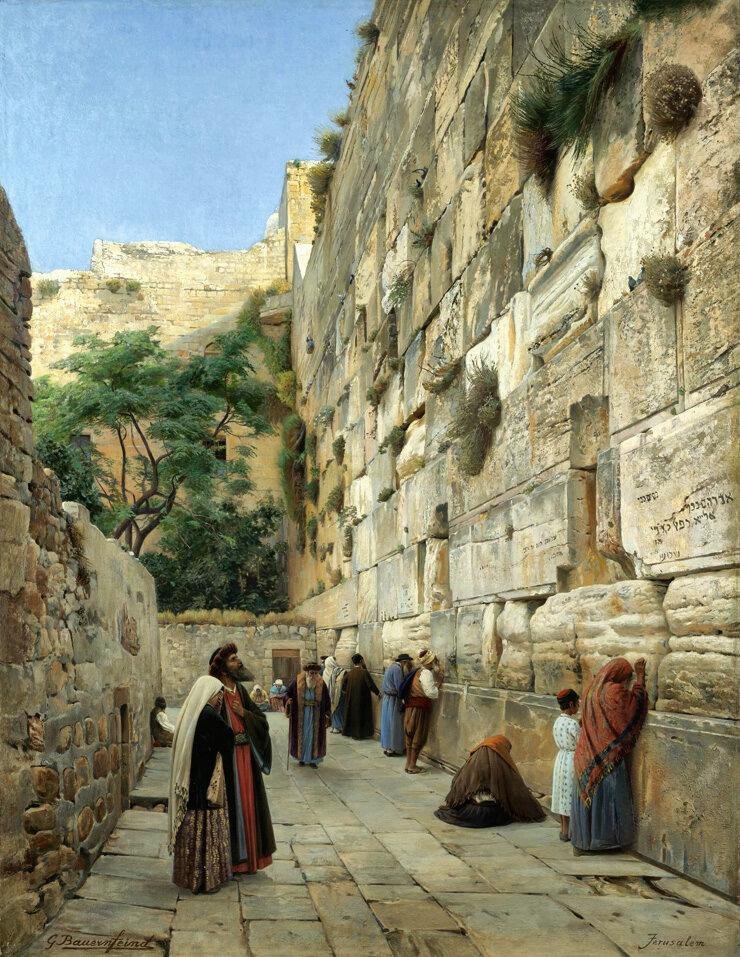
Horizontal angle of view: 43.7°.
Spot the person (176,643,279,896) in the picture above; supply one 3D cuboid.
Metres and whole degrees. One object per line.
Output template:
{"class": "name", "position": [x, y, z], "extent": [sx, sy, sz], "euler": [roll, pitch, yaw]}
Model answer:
{"class": "person", "position": [-0.839, 1.618, 5.246], "extent": [0.382, 1.308, 0.769], "euler": [-3, -7, 28]}

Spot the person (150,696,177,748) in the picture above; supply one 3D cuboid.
{"class": "person", "position": [-2.488, 2.935, 11.010], "extent": [0.239, 0.569, 1.060], "euler": [1, -8, -13]}

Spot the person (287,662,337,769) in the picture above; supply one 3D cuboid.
{"class": "person", "position": [-0.671, 2.694, 10.423], "extent": [0.456, 1.130, 0.555], "euler": [0, -6, -5]}

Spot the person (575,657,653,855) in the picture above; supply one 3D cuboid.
{"class": "person", "position": [1.434, 1.589, 5.354], "extent": [0.329, 1.266, 0.320], "euler": [2, 9, 16]}
